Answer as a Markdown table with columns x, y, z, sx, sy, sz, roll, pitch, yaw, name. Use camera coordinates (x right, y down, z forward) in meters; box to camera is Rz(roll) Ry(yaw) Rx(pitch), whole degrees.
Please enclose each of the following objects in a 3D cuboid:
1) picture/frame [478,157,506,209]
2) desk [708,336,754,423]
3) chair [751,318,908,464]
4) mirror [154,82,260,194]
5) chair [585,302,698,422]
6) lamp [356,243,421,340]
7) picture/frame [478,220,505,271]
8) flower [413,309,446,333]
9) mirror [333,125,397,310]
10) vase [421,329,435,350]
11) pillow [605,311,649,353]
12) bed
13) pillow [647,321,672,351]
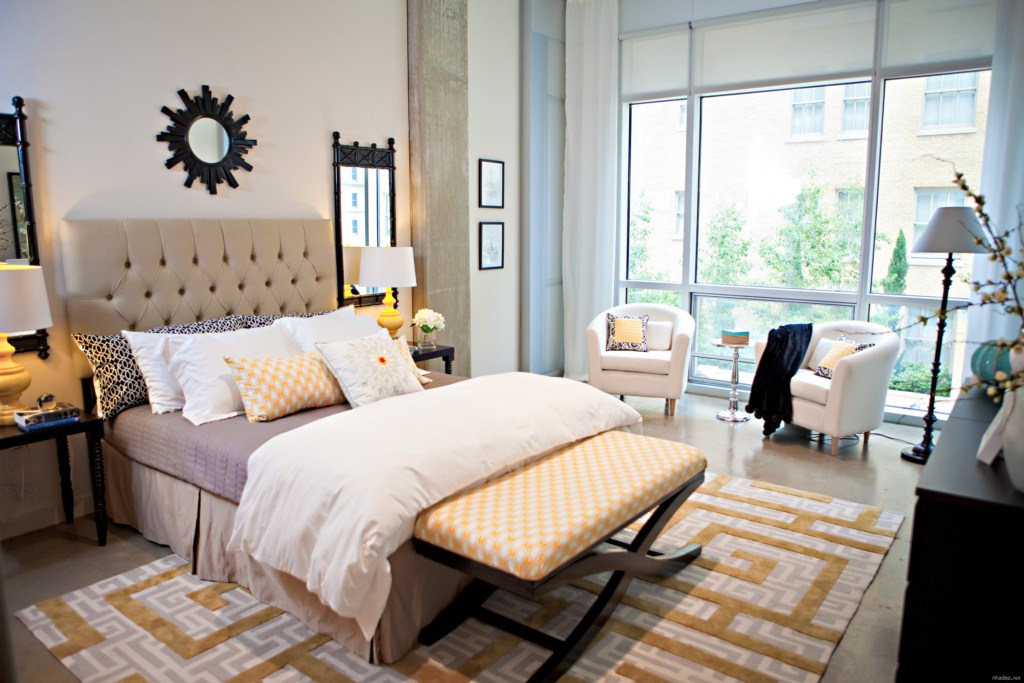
| x | y | z | sx | sy | sz | roll | pitch | yaw | name |
| --- | --- | --- | --- | --- | --- | --- | --- | --- | --- |
| -0.212 | -1.570 | 6.535 | 0.045 | 0.601 | 0.532 | 4 | 6 | 33 | picture/frame |
| 2.085 | 0.350 | 6.221 | 0.363 | 0.703 | 0.346 | 1 | 2 | -7 | desk |
| 2.745 | 0.368 | 5.711 | 0.973 | 0.940 | 0.925 | -8 | 12 | -37 | chair |
| -2.181 | -1.439 | 4.679 | 0.047 | 0.838 | 0.798 | 8 | 16 | 44 | mirror |
| 1.230 | 0.179 | 6.530 | 1.084 | 0.971 | 1.009 | 1 | 10 | 3 | chair |
| -1.020 | -0.383 | 5.520 | 0.460 | 0.718 | 0.467 | -7 | -6 | 35 | lamp |
| -0.196 | -0.945 | 6.624 | 0.039 | 0.493 | 0.423 | 8 | 15 | 31 | picture/frame |
| -0.712 | -0.179 | 5.741 | 0.226 | 0.122 | 0.220 | 6 | 18 | 3 | flower |
| -1.245 | -0.931 | 5.691 | 0.109 | 1.539 | 0.763 | 9 | 15 | 32 | mirror |
| -0.720 | -0.009 | 5.839 | 0.159 | 0.136 | 0.121 | 1 | 2 | 39 | vase |
| 1.102 | -0.078 | 6.383 | 0.387 | 0.360 | 0.135 | 2 | -17 | 3 | pillow |
| -1.178 | 0.224 | 4.386 | 2.737 | 1.748 | 2.139 | 20 | 26 | 34 | bed |
| 1.430 | -0.046 | 6.426 | 0.296 | 0.251 | 0.100 | 2 | 0 | 19 | pillow |
